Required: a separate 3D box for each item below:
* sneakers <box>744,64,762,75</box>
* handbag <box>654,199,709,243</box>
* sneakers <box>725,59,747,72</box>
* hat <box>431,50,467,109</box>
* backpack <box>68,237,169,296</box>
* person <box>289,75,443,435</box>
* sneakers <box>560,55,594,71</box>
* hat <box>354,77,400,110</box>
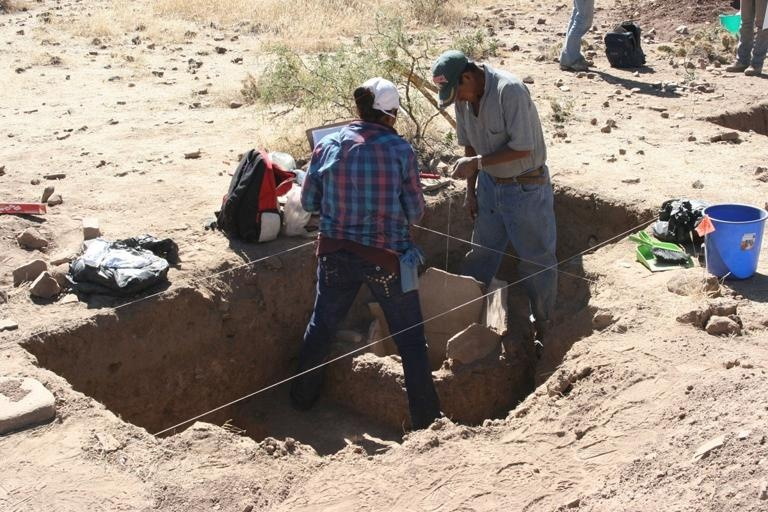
[{"bbox_3d":[6.096,-3.062,13.772,0.231,0.153,0.242,7,22,28],"label":"sneakers"},{"bbox_3d":[2.962,-0.358,8.401,0.442,0.225,0.490,-7,26,13],"label":"handbag"},{"bbox_3d":[5.941,-3.193,14.099,0.410,0.155,0.134,2,23,-1],"label":"sneakers"},{"bbox_3d":[0.537,-1.629,7.750,0.331,0.478,0.299,10,-17,47],"label":"hat"},{"bbox_3d":[-2.624,0.123,8.158,0.755,0.226,0.563,10,25,17],"label":"backpack"},{"bbox_3d":[-0.115,0.008,7.667,1.273,3.166,0.757,3,22,18],"label":"person"},{"bbox_3d":[3.269,-3.266,14.197,0.630,0.239,0.199,-3,43,0],"label":"sneakers"},{"bbox_3d":[-0.023,-1.436,7.361,0.246,0.191,0.353,41,24,25],"label":"hat"}]
